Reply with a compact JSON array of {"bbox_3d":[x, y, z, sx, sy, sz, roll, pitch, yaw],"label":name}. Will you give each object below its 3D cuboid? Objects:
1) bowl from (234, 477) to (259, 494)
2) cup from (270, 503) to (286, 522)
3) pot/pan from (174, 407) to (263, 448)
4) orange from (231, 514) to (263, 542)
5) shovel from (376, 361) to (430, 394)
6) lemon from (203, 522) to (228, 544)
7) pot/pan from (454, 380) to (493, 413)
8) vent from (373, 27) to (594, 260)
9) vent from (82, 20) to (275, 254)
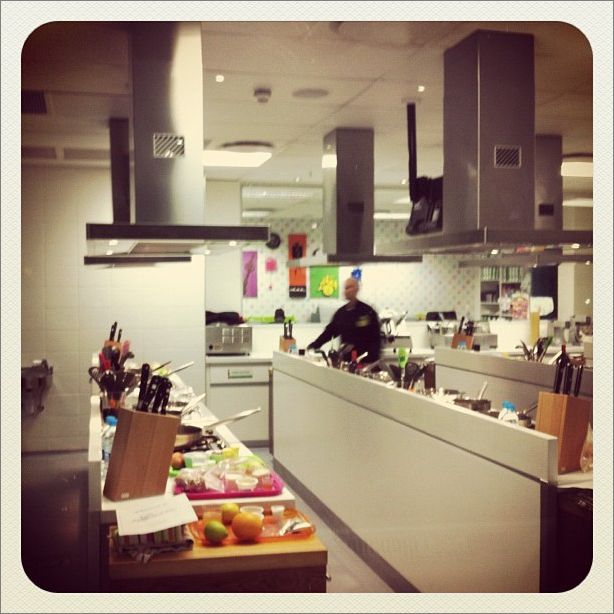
[{"bbox_3d":[-0.210,0.626,2.153,0.082,0.027,0.117,1,4,-7],"label":"bowl"},{"bbox_3d":[-0.089,0.652,1.943,0.041,0.035,0.041,0,-5,0],"label":"cup"},{"bbox_3d":[-0.367,0.511,2.550,0.342,0.056,0.185,-16,1,-16],"label":"pot/pan"},{"bbox_3d":[-0.176,0.648,1.801,0.086,0.080,0.070,0,4,-8],"label":"orange"},{"bbox_3d":[0.549,0.368,3.607,0.288,0.156,0.751,1,4,5],"label":"shovel"},{"bbox_3d":[-0.263,0.640,1.786,0.049,0.058,0.064,2,14,-44],"label":"lemon"},{"bbox_3d":[0.808,0.421,2.965,0.208,0.203,0.121,1,0,-44],"label":"pot/pan"},{"bbox_3d":[0.940,-0.868,3.184,0.533,1.097,1.046,-2,4,-16],"label":"vent"},{"bbox_3d":[-0.513,-0.641,2.355,0.766,0.851,0.624,1,7,-16],"label":"vent"}]
